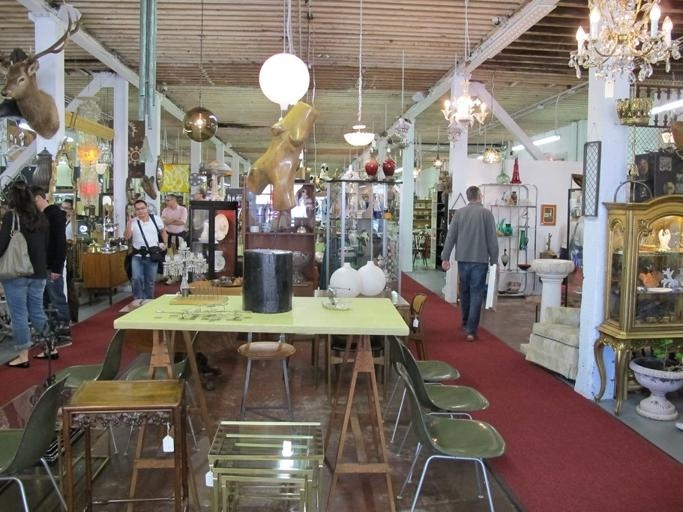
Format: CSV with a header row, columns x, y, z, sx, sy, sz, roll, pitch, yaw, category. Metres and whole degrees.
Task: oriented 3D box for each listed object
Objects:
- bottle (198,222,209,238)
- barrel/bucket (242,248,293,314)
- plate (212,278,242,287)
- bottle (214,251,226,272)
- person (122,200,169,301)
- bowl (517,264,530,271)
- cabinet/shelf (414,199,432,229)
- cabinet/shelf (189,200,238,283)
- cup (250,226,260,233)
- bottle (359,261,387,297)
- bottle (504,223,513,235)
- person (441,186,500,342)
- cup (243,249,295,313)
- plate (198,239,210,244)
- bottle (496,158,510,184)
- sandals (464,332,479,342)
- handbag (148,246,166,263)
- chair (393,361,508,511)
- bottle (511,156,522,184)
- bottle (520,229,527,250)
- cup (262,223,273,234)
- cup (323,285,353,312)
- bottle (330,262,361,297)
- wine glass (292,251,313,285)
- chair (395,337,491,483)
x,y,z,sx,sy,sz,roll,pitch,yaw,category
-1.877,-0.347,7.631,0.154,0.247,0.044,2,4,26,bottle
-0.603,0.177,4.447,0.410,0.527,0.435,1,3,0,barrel/bucket
-1.362,0.306,6.656,0.328,0.098,0.262,-1,4,-15,plate
-1.697,0.096,7.788,0.201,0.285,0.218,0,1,0,bottle
-3.001,-0.098,8.563,0.588,1.547,1.099,-1,4,-21,person
3.721,0.235,11.258,0.259,0.130,0.220,1,4,15,bowl
3.123,-1.601,21.479,0.662,1.112,0.794,0,3,2,cabinet/shelf
-1.762,-0.230,7.753,0.698,1.086,0.430,-2,4,-24,cabinet/shelf
-1.141,-0.348,7.342,0.123,0.086,0.151,-1,4,-9,cup
0.344,0.253,6.236,0.326,0.363,0.350,0,-2,1,bottle
3.427,-0.538,11.381,0.159,0.246,0.299,1,4,17,bottle
1.879,0.090,8.010,0.508,2.155,0.702,-1,3,-21,person
-0.526,0.181,4.534,0.407,0.524,0.433,1,3,0,cup
-1.884,-0.196,7.643,0.078,0.082,0.078,0,1,-38,plate
3.318,-1.723,11.371,0.258,0.502,0.593,1,4,18,bottle
1.837,1.151,7.822,0.089,0.118,0.262,0,-6,9,sandals
-2.807,-0.026,8.420,0.217,0.249,0.088,-1,-2,-29,handbag
0.796,1.333,4.182,0.735,1.107,0.986,0,3,7,chair
3.587,-1.736,11.363,0.184,0.533,0.433,1,4,18,bottle
3.771,-0.328,11.489,0.140,0.405,0.200,1,4,22,bottle
-0.970,-0.361,7.274,0.125,0.122,0.507,-1,4,-10,cup
-0.035,0.354,4.597,0.227,0.226,0.157,2,7,-2,cup
0.062,0.239,5.984,0.284,0.389,0.309,1,9,0,bottle
-0.534,0.154,7.165,0.320,0.410,0.350,1,7,12,wine glass
0.850,1.075,4.856,0.923,1.403,0.925,-6,14,2,chair
